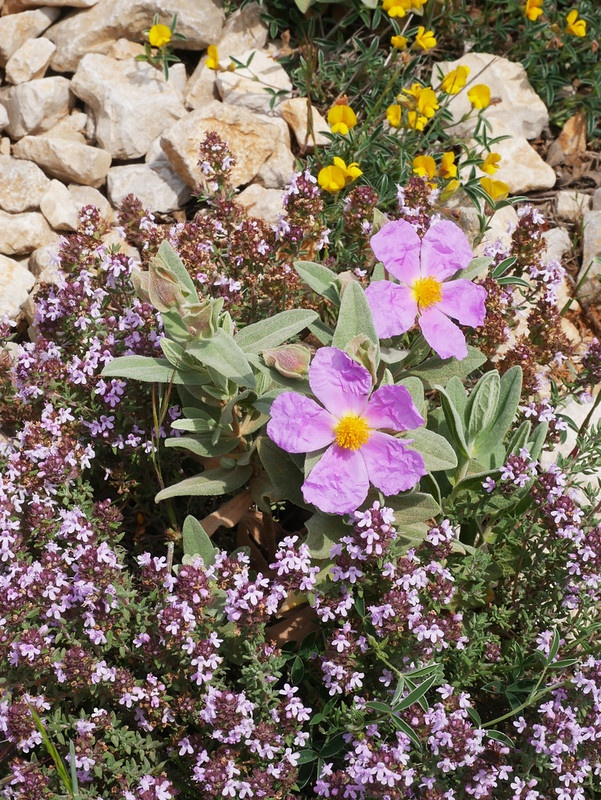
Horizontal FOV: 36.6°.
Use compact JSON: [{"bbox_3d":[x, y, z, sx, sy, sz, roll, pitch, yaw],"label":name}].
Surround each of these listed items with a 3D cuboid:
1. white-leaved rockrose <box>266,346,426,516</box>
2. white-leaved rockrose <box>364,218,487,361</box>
[{"bbox_3d":[0.139,0.112,2.782,0.485,0.423,0.385,5,45,-3],"label":"white-leaved rockrose"},{"bbox_3d":[0.418,-0.388,3.009,0.423,0.309,0.498,10,44,3],"label":"white-leaved rockrose"}]
